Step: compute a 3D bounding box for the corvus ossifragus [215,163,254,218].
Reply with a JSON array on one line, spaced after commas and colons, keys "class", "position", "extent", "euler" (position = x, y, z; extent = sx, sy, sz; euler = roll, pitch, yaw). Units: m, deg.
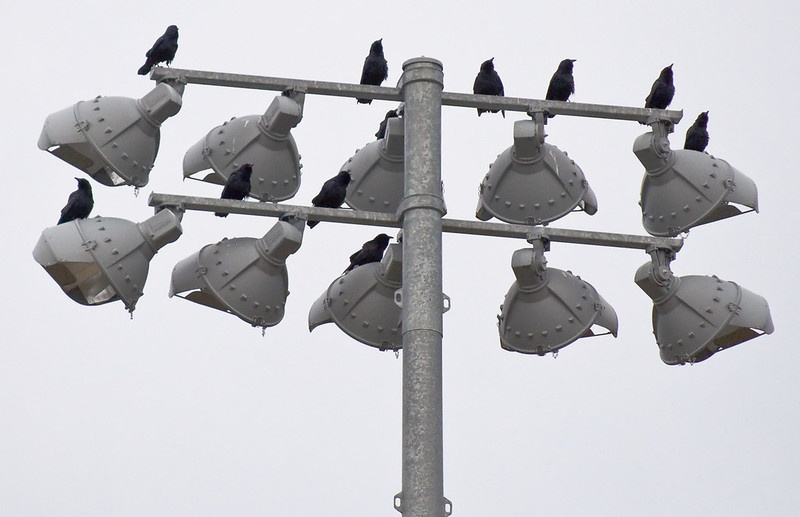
[{"class": "corvus ossifragus", "position": [-2.080, -0.893, 24.832], "extent": [0.260, 0.617, 0.505], "euler": [23, -29, -34]}]

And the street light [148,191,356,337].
[{"class": "street light", "position": [-1.862, 0.045, 24.432], "extent": [2.055, 1.281, 1.632], "euler": [14, -87, -43]}]

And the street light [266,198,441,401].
[{"class": "street light", "position": [-0.316, 0.310, 22.613], "extent": [1.368, 1.655, 0.876], "euler": [15, -22, -2]}]

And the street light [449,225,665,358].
[{"class": "street light", "position": [1.724, 0.498, 24.643], "extent": [2.609, 1.888, 1.449], "euler": [1, -14, 5]}]

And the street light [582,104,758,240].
[{"class": "street light", "position": [3.697, -1.180, 24.967], "extent": [1.605, 1.910, 1.346], "euler": [-1, -7, -36]}]

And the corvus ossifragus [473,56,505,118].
[{"class": "corvus ossifragus", "position": [1.182, -2.301, 26.442], "extent": [0.344, 0.688, 0.798], "euler": [-1, -6, 4]}]

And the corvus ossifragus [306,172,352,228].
[{"class": "corvus ossifragus", "position": [-0.907, -0.812, 25.556], "extent": [0.544, 0.715, 0.357], "euler": [-1, -21, 30]}]

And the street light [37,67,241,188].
[{"class": "street light", "position": [-3.365, -1.560, 24.189], "extent": [1.495, 1.314, 1.640], "euler": [27, -82, 18]}]

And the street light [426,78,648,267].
[{"class": "street light", "position": [1.799, -1.059, 25.056], "extent": [2.690, 1.982, 1.404], "euler": [6, -7, 14]}]
